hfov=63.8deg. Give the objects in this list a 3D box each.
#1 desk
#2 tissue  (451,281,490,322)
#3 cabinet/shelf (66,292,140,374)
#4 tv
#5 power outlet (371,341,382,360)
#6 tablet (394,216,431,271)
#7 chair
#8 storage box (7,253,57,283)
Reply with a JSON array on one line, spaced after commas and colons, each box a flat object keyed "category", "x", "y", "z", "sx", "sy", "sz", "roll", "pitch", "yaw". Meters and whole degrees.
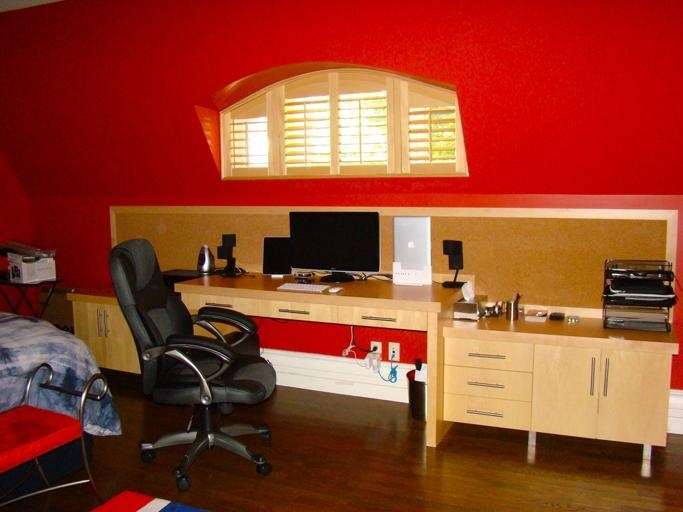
[{"category": "desk", "x": -0.193, "y": 0.700, "z": 4.333, "sx": 2.135, "sy": 0.999, "sz": 0.676, "roll": 2, "pitch": 15, "yaw": 20}, {"category": "tissue ", "x": 0.982, "y": 0.246, "z": 4.061, "sx": 0.234, "sy": 0.409, "sz": 0.433, "roll": 1, "pitch": 2, "yaw": 27}, {"category": "cabinet/shelf", "x": -2.075, "y": 0.689, "z": 5.017, "sx": 0.697, "sy": 0.662, "sz": 0.262, "roll": 4, "pitch": 11, "yaw": 17}, {"category": "tv", "x": -0.055, "y": -0.108, "z": 4.355, "sx": 0.735, "sy": 0.496, "sz": 0.184, "roll": 2, "pitch": 8, "yaw": 13}, {"category": "power outlet", "x": 0.293, "y": 0.763, "z": 4.565, "sx": 0.123, "sy": 0.128, "sz": 0.031, "roll": -15, "pitch": -21, "yaw": 42}, {"category": "tablet", "x": 0.536, "y": -0.106, "z": 4.113, "sx": 0.401, "sy": 0.526, "sz": 0.053, "roll": 2, "pitch": 6, "yaw": 21}, {"category": "chair", "x": -0.927, "y": 0.651, "z": 3.611, "sx": 1.011, "sy": 1.396, "sz": 0.923, "roll": 2, "pitch": 6, "yaw": 4}, {"category": "storage box", "x": -3.076, "y": 0.105, "z": 5.441, "sx": 0.343, "sy": 0.247, "sz": 0.344, "roll": 9, "pitch": 9, "yaw": 32}]
